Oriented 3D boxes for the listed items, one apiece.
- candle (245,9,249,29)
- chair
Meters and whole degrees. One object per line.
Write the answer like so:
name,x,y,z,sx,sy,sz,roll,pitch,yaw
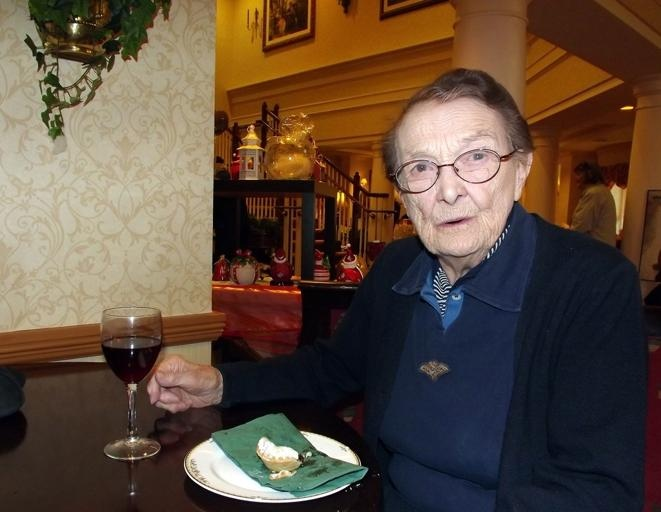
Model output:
candle,-2.388,-6.849,15.198,0.097,0.559,0.287,-1,8,-9
chair,-0.021,0.226,2.507,0.315,0.335,0.266,0,5,-1
